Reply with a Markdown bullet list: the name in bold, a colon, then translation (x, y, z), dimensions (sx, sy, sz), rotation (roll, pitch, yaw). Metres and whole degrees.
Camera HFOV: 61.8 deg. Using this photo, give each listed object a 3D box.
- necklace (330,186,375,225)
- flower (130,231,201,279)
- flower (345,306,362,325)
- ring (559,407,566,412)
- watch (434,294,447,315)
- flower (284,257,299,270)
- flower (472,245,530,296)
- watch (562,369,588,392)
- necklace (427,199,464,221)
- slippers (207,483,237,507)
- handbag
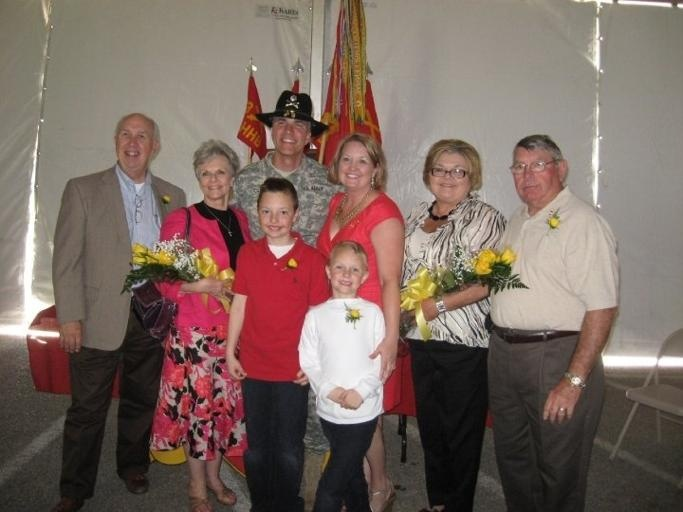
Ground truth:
- **necklace**: translation (0.052, -0.344, 3.910), dimensions (0.271, 0.281, 0.117), rotation (8, -3, 28)
- **flower**: translation (-1.197, 0.033, 3.845), dimensions (0.330, 0.343, 0.141), rotation (17, 2, -8)
- **flower**: translation (0.071, 0.367, 3.538), dimensions (0.086, 0.089, 0.042), rotation (-23, -15, 16)
- **ring**: translation (1.349, 0.941, 3.494), dimensions (0.036, 0.040, 0.016), rotation (-1, 8, -12)
- **watch**: translation (0.650, 0.326, 3.841), dimensions (0.098, 0.098, 0.094), rotation (-17, 7, -7)
- **flower**: translation (-0.319, 0.050, 3.682), dimensions (0.062, 0.074, 0.042), rotation (11, -16, -6)
- **flower**: translation (0.994, 0.091, 3.625), dimensions (0.259, 0.241, 0.293), rotation (-13, 6, -17)
- **watch**: translation (1.411, 0.757, 3.462), dimensions (0.107, 0.061, 0.107), rotation (29, 8, 15)
- **necklace**: translation (0.678, -0.311, 4.019), dimensions (0.129, 0.038, 0.168), rotation (-1, 43, 35)
- **slippers**: translation (-0.893, 1.776, 4.267), dimensions (0.104, 0.053, 0.217), rotation (-2, 13, -45)
- **handbag**: translation (-1.330, 0.100, 4.120), dimensions (0.217, 0.928, 0.516), rotation (-6, -7, -30)
